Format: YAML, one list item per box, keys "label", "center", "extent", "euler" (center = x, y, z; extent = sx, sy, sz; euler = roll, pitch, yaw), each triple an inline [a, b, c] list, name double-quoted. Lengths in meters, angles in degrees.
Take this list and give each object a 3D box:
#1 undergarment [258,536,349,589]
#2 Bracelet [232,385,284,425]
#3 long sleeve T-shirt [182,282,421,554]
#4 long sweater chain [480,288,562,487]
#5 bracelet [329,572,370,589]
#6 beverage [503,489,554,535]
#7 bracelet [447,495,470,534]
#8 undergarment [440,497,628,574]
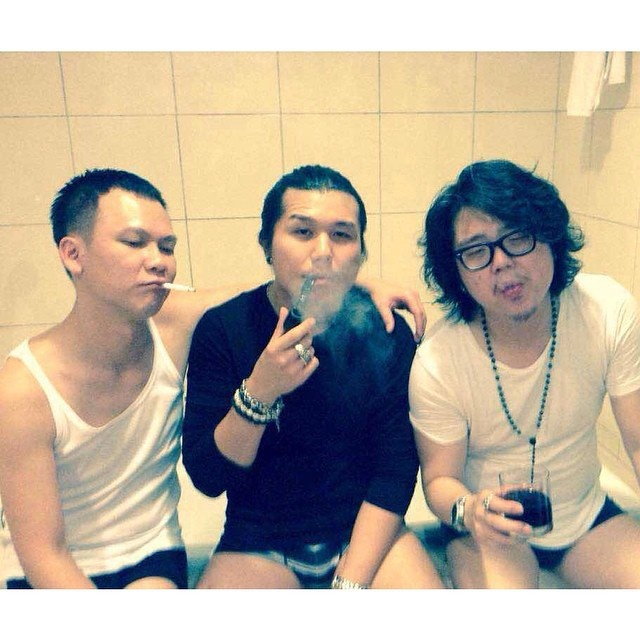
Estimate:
- label: "undergarment"
  center: [-0.035, 0.533, 1.585]
  extent: [0.154, 0.115, 0.051]
  euler: [19, 24, -11]
- label: "Bracelet"
  center: [-0.136, 0.192, 1.530]
  extent: [0.080, 0.100, 0.052]
  euler: [-5, 16, -3]
- label: "long sleeve T-shirt"
  center: [-0.039, 0.293, 1.559]
  extent: [0.547, 0.660, 0.470]
  euler: [12, -16, -17]
- label: "long sweater chain"
  center: [0.466, 0.152, 1.506]
  extent: [0.132, 0.468, 0.021]
  euler: [0, 11, 4]
- label: "bracelet"
  center: [0.061, 0.569, 1.528]
  extent: [0.056, 0.018, 0.038]
  euler: [0, -6, -3]
- label: "beverage"
  center: [0.432, 0.384, 1.446]
  extent: [0.088, 0.088, 0.091]
  euler: [-6, 4, 5]
- label: "bracelet"
  center: [0.304, 0.422, 1.506]
  extent: [0.028, 0.070, 0.054]
  euler: [2, 4, 19]
- label: "undergarment"
  center: [0.564, 0.508, 1.679]
  extent: [0.246, 0.211, 0.071]
  euler: [1, 6, -6]
